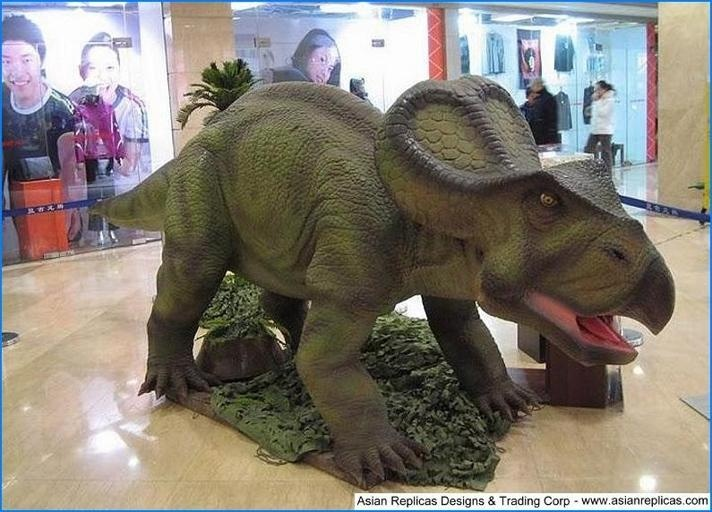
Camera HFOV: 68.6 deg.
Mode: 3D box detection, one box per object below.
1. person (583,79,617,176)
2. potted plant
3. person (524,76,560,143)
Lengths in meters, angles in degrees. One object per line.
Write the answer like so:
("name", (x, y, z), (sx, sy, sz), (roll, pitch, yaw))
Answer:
("person", (4.748, -2.565, 10.170), (0.464, 1.706, 1.072), (4, 16, 29))
("potted plant", (-0.913, 0.462, 3.991), (0.707, 0.749, 0.769), (11, 5, 38))
("person", (3.096, -2.399, 8.708), (0.503, 1.045, 0.931), (0, 14, 17))
